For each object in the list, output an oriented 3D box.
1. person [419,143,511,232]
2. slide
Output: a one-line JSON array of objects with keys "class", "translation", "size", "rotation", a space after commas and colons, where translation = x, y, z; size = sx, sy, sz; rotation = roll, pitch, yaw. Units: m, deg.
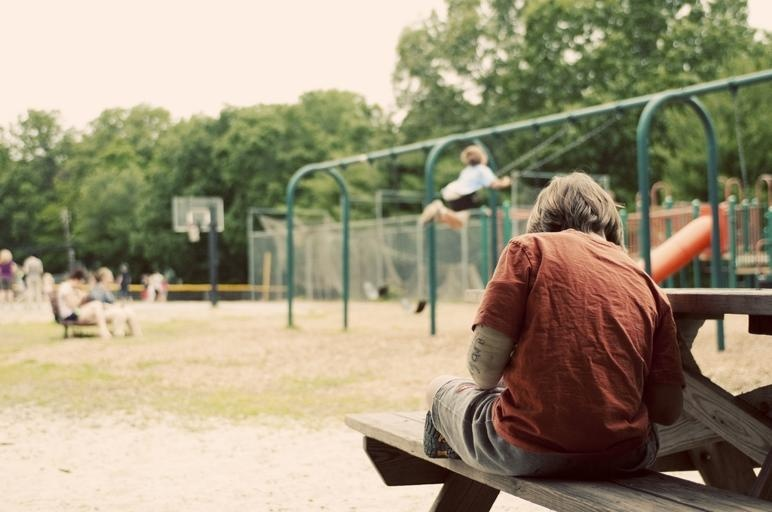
[{"class": "person", "translation": [1.312, -1.104, 16.904], "size": [1.577, 1.342, 0.902], "rotation": [-10, -3, 44]}, {"class": "slide", "translation": [4.252, -0.094, 15.612], "size": [1.327, 0.355, 1.316], "rotation": [-42, -8, -21]}]
